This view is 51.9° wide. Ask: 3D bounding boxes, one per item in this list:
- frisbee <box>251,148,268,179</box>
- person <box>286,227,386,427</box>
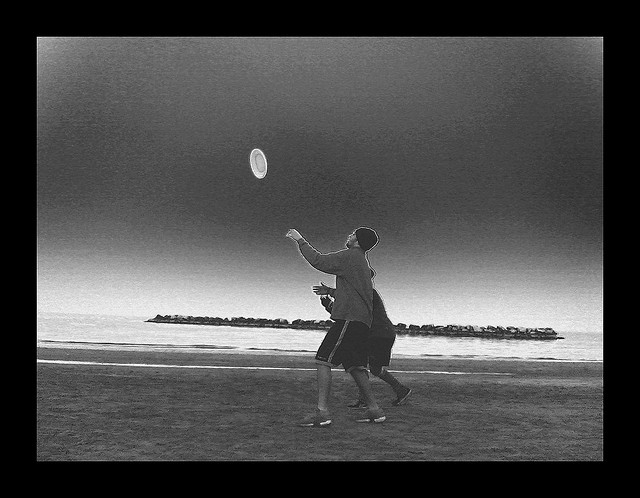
[{"bbox_3d":[-0.618,-0.889,6.667,0.151,0.253,0.247,2,-7,-6],"label":"frisbee"},{"bbox_3d":[0.195,0.664,5.613,0.797,1.695,0.327,2,-7,-6],"label":"person"}]
